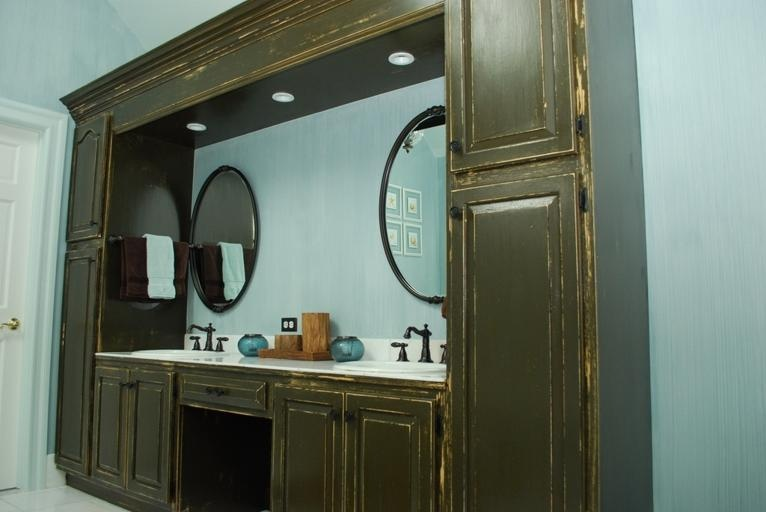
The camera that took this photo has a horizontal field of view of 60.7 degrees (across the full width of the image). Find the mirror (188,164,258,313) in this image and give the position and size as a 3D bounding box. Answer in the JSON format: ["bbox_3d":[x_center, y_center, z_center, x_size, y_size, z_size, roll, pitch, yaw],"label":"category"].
[{"bbox_3d":[-1.212,-0.105,5.039,1.053,1.544,0.074,-3,-7,41],"label":"mirror"}]

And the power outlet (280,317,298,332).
[{"bbox_3d":[-0.647,0.476,4.533,0.114,0.108,0.143,0,-8,-10],"label":"power outlet"}]

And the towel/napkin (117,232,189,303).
[{"bbox_3d":[-1.789,0.091,5.028,0.513,0.491,0.084,1,-8,-41],"label":"towel/napkin"}]

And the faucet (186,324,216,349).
[{"bbox_3d":[-1.402,0.626,5.041,0.210,0.223,0.189,7,-14,-14],"label":"faucet"}]
